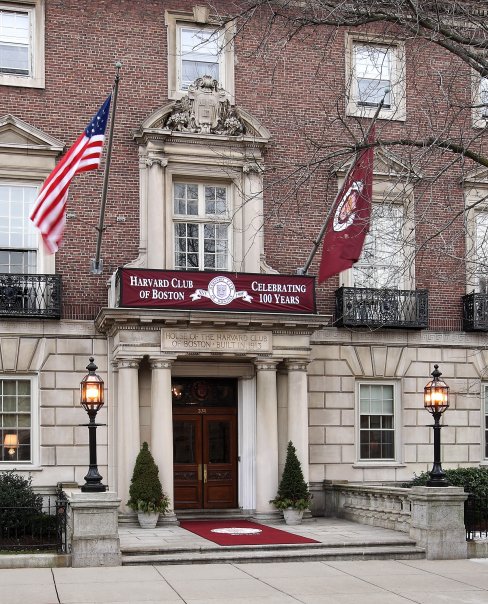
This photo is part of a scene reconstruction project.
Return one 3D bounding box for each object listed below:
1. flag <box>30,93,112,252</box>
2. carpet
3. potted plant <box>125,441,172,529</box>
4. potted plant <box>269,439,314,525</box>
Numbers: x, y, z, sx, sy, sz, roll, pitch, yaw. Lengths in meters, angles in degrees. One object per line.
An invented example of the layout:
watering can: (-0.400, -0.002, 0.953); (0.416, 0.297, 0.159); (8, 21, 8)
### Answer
flag: (-3.684, -2.585, 33.273); (1.591, 3.124, 0.621); (-1, -7, -8)
carpet: (-0.013, 4.789, 33.123); (2.394, 0.520, 4.452); (-1, -8, -7)
potted plant: (-2.107, 3.927, 34.095); (0.846, 1.793, 0.593); (-1, -7, -7)
potted plant: (0.992, 3.966, 34.948); (0.764, 1.793, 0.463); (-2, -7, 2)
